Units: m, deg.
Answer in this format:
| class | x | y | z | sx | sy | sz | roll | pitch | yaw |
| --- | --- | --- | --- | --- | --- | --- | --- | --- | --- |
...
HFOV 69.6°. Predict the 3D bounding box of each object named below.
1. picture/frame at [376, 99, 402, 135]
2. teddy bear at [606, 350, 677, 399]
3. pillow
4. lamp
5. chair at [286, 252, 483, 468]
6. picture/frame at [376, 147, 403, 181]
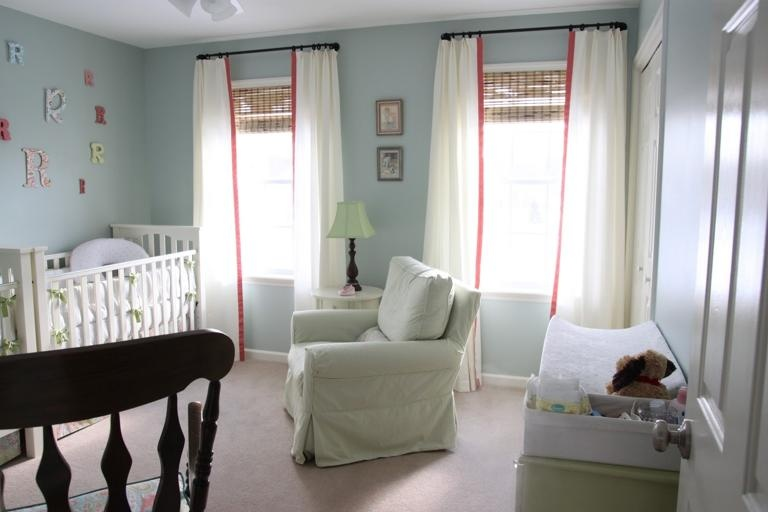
| class | x | y | z | sx | sy | sz | roll | pitch | yaw |
| --- | --- | --- | --- | --- | --- | --- | --- | --- | --- |
| picture/frame | 0.045 | -1.113 | 4.370 | 0.273 | 0.349 | 0.025 | 1 | 5 | 9 |
| teddy bear | 1.071 | 0.519 | 2.314 | 0.228 | 0.231 | 0.193 | 7 | -13 | 27 |
| pillow | 0.089 | 0.103 | 3.535 | 0.459 | 0.605 | 0.809 | -6 | 2 | -12 |
| lamp | -0.244 | -0.046 | 4.244 | 0.345 | 0.615 | 0.326 | -8 | -14 | 36 |
| chair | -0.011 | 0.608 | 3.820 | 1.226 | 1.247 | 1.136 | 1 | 1 | -17 |
| picture/frame | 0.051 | -0.747 | 4.401 | 0.253 | 0.312 | 0.033 | 1 | 5 | 10 |
